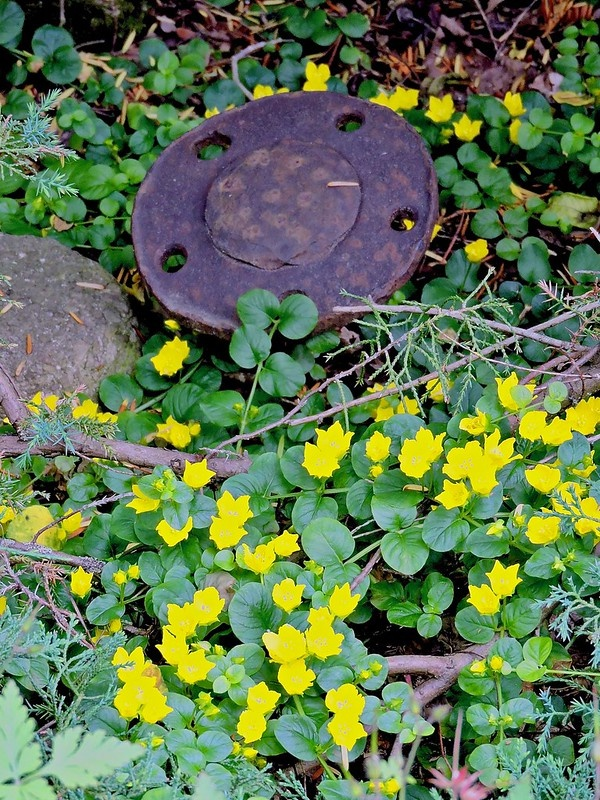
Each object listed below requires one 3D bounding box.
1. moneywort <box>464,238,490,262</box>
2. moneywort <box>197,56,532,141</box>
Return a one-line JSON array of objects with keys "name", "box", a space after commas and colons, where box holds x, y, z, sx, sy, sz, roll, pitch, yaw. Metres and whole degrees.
[{"name": "moneywort", "box": [0.631, -0.531, 3.206, 0.088, 0.045, 0.080, -2, 91, -11]}, {"name": "moneywort", "box": [0.361, -1.140, 3.551, 1.049, 0.268, 0.439, 9, 47, 1]}]
